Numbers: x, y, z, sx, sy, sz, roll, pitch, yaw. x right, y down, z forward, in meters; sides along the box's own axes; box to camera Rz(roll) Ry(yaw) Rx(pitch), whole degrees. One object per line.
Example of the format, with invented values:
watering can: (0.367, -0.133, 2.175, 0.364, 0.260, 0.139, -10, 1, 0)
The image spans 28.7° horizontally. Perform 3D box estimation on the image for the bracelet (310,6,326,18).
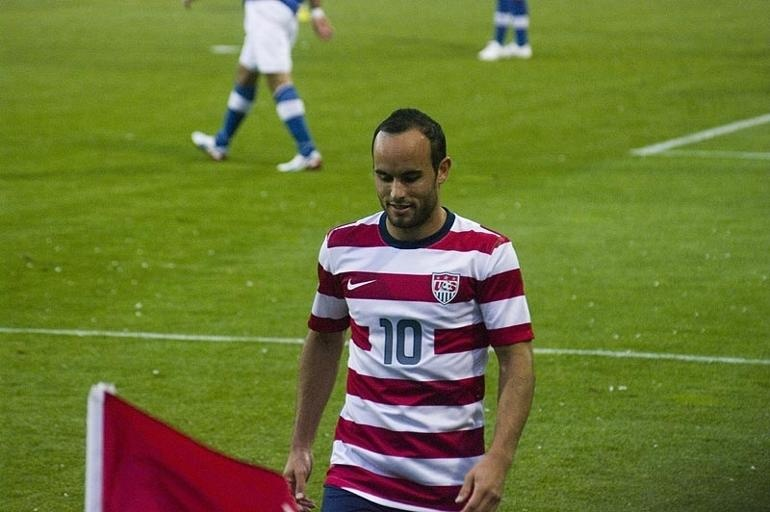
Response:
bracelet: (-0.465, -1.635, 10.097, 0.089, 0.055, 0.080, -2, -7, 1)

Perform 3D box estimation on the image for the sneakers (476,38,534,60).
sneakers: (0.801, -1.423, 10.410, 0.252, 0.085, 0.182, -3, 6, -35)

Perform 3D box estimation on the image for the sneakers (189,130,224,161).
sneakers: (-1.228, -0.761, 10.490, 0.301, 0.131, 0.118, 30, 37, -29)

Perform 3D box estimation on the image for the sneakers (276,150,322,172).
sneakers: (-0.614, -0.681, 10.858, 0.393, 0.139, 0.120, -4, 10, -2)
